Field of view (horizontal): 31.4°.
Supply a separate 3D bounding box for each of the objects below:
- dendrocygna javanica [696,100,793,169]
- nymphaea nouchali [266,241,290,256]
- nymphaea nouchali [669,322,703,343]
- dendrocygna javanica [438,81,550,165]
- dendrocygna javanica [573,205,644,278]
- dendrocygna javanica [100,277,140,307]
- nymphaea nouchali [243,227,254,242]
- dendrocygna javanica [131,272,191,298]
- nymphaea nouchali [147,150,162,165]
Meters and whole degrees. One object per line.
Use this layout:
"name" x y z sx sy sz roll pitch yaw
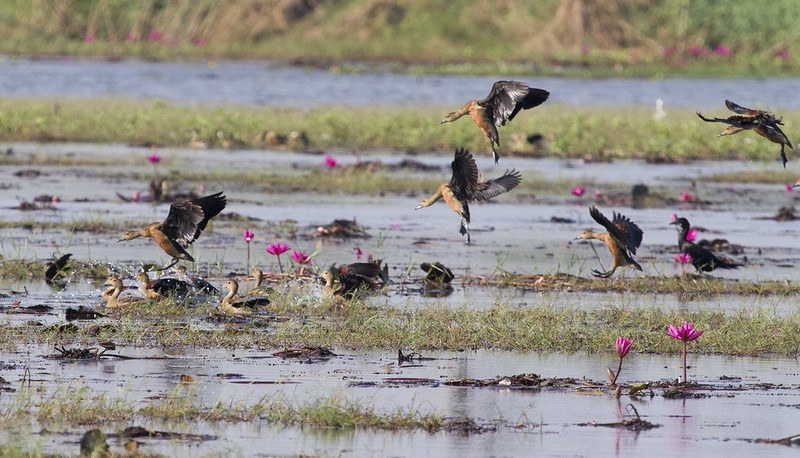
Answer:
"dendrocygna javanica" 5.685 -1.721 22.891 1.429 0.862 1.444 -15 10 12
"nymphaea nouchali" -2.301 0.368 27.091 0.363 0.177 0.344 -4 5 -33
"nymphaea nouchali" 4.602 1.663 23.259 0.483 0.552 0.304 5 87 -4
"dendrocygna javanica" 1.712 -1.969 23.711 1.511 0.926 0.730 -9 57 -13
"dendrocygna javanica" 3.592 0.187 24.779 1.203 0.943 1.801 3 4 11
"dendrocygna javanica" -5.075 1.169 26.093 0.743 0.674 0.319 -3 11 -44
"nymphaea nouchali" -3.073 0.110 29.175 0.246 0.273 0.262 -6 16 -24
"dendrocygna javanica" -4.306 1.053 26.161 0.974 0.368 0.562 0 54 -7
"nymphaea nouchali" -5.756 -1.673 33.623 0.324 0.303 0.317 3 4 41
